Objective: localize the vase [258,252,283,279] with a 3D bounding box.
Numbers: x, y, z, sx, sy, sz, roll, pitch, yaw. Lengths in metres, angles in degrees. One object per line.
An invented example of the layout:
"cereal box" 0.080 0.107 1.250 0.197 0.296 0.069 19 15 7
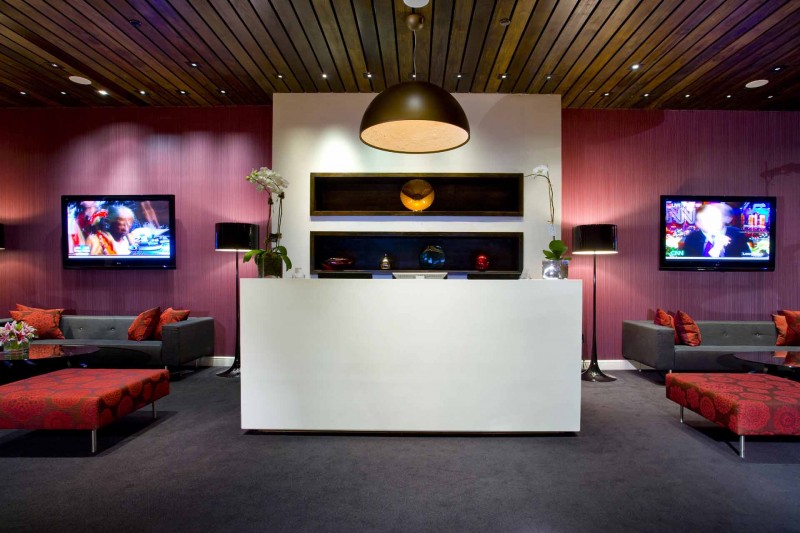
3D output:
"vase" -1.372 -0.022 6.134 0.257 0.249 0.249 3 10 0

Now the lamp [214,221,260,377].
"lamp" -2.174 0.425 7.699 0.595 2.103 1.263 -2 0 -15

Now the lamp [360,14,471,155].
"lamp" 0.144 -1.954 5.800 1.104 1.179 1.119 0 4 -6

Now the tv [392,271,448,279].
"tv" 0.214 0.093 6.480 0.573 0.066 1.092 -1 0 11

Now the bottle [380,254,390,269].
"bottle" -0.190 -0.065 7.810 0.131 0.200 0.251 -1 0 -1

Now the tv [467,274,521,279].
"tv" 1.251 0.121 7.670 0.667 0.061 0.163 -1 0 -2

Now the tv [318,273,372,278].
"tv" -0.789 0.110 7.394 0.710 0.068 0.775 -1 0 8

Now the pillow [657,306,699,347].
"pillow" 3.711 0.778 7.662 0.213 0.503 0.503 -14 21 16

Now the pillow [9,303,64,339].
"pillow" -4.795 0.736 7.503 0.431 0.216 0.349 4 38 -24

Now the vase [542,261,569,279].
"vase" 1.643 0.034 6.002 0.209 0.147 0.211 -1 -1 15
